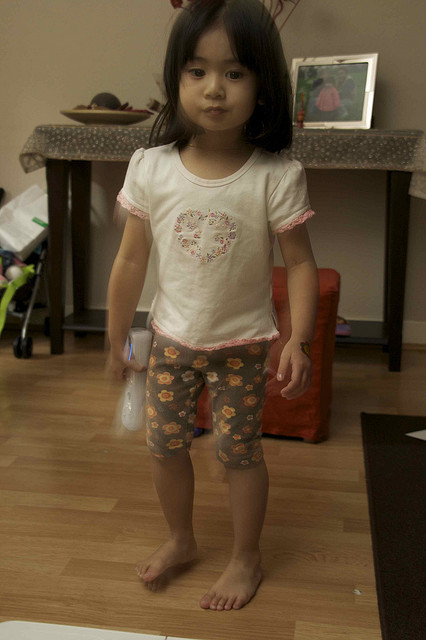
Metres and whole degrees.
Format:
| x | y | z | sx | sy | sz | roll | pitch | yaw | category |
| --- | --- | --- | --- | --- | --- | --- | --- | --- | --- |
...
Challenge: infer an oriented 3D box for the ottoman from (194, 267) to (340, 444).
| x | y | z | sx | sy | sz | roll | pitch | yaw | category |
| --- | --- | --- | --- | --- | --- | --- | --- | --- | --- |
| 0.140 | 0.084 | 1.681 | 0.466 | 0.579 | 0.587 | 3 | 7 | 8 | ottoman |

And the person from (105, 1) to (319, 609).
| x | y | z | sx | sy | sz | roll | pitch | yaw | category |
| --- | --- | --- | --- | --- | --- | --- | --- | --- | --- |
| 0.000 | 0.015 | 0.796 | 0.251 | 0.886 | 0.299 | -6 | 11 | -35 | person |

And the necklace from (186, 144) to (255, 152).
| x | y | z | sx | sy | sz | roll | pitch | yaw | category |
| --- | --- | --- | --- | --- | --- | --- | --- | --- | --- |
| 0.008 | -0.242 | 0.720 | 0.088 | 0.013 | 0.025 | 0 | 9 | -2 | necklace |
